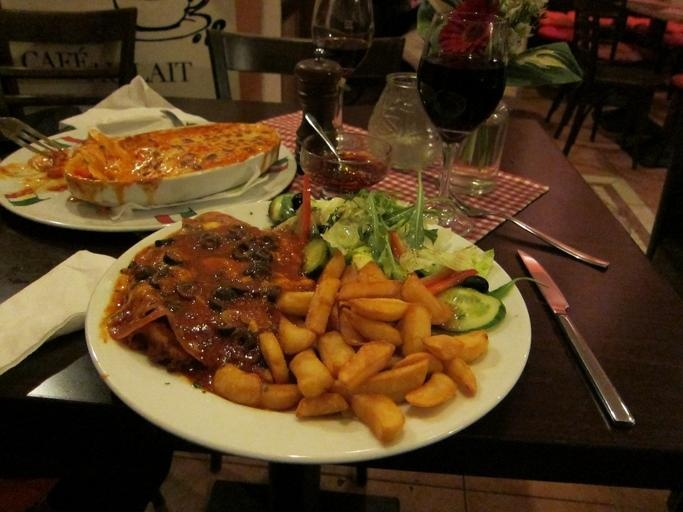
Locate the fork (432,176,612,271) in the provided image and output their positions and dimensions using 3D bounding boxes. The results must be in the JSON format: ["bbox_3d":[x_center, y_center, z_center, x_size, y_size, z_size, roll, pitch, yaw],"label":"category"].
[{"bbox_3d":[0.533,-0.091,1.608,0.489,0.066,0.056,36,24,21],"label":"fork"}]

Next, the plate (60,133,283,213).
[{"bbox_3d":[-0.518,-0.273,1.683,0.465,0.089,0.332,-17,39,-25],"label":"plate"}]

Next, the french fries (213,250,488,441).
[{"bbox_3d":[0.049,0.200,1.116,0.386,0.076,0.407,9,34,18],"label":"french fries"}]

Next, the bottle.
[{"bbox_3d":[0.177,-0.502,2.054,0.386,0.363,0.370,2,28,2],"label":"bottle"}]

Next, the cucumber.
[{"bbox_3d":[0.303,0.110,1.235,0.121,0.013,0.097,5,35,21],"label":"cucumber"}]
